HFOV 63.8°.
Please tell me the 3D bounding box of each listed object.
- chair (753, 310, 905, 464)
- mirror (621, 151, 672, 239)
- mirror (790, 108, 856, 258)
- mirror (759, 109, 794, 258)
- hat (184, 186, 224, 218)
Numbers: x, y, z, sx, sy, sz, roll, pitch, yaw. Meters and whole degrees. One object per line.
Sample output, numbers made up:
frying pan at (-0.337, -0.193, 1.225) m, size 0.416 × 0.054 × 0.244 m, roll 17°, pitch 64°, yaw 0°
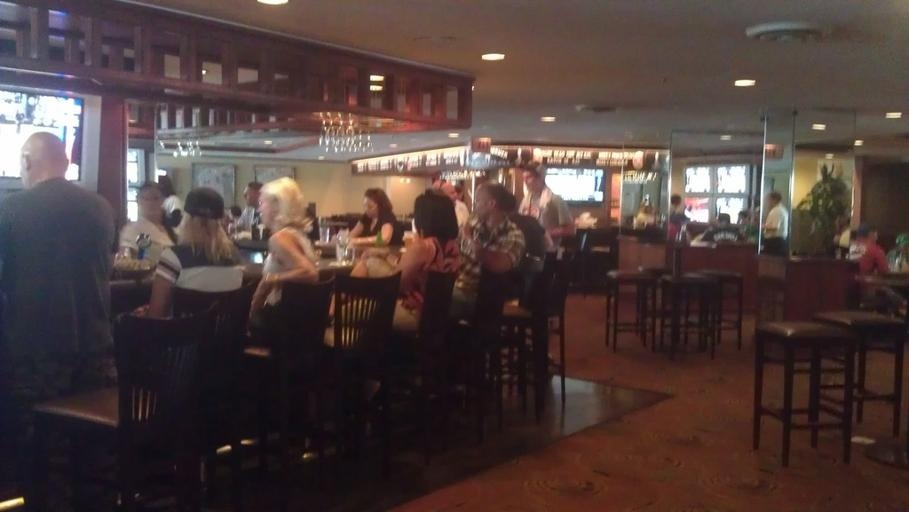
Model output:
chair at (3.599, 1.303, 6.961) m, size 1.470 × 0.801 × 0.426 m, roll -1°, pitch 6°, yaw -18°
mirror at (3.526, -1.144, 12.859) m, size 1.191 × 1.495 × 1.084 m, roll -1°, pitch 7°, yaw -6°
mirror at (4.571, -0.710, 9.045) m, size 0.711 × 1.779 × 0.084 m, roll 10°, pitch -32°, yaw 16°
mirror at (4.181, -0.988, 9.392) m, size 0.379 × 1.870 × 0.880 m, roll 2°, pitch 6°, yaw 25°
hat at (-2.141, -0.449, 6.209) m, size 0.251 × 0.186 × 0.314 m, roll 5°, pitch 31°, yaw -27°
